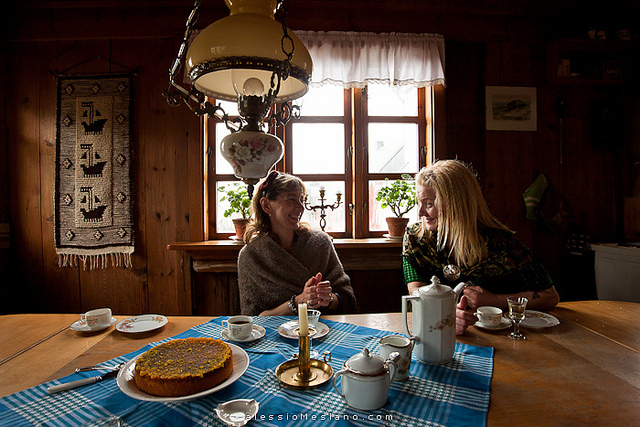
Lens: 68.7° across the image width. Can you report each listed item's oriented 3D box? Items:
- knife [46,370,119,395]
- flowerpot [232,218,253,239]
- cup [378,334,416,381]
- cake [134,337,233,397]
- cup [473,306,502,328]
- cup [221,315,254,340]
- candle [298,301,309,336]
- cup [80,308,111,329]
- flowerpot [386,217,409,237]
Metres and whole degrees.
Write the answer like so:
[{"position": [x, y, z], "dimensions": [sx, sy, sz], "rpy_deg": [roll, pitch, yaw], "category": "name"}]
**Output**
[{"position": [-1.142, 0.815, 2.248], "dimensions": [0.302, 0.033, 0.025], "rpy_deg": [-10, -33, -18], "category": "knife"}, {"position": [-0.653, 0.122, 3.809], "dimensions": [0.137, 0.172, 0.074], "rpy_deg": [0, 5, 40], "category": "flowerpot"}, {"position": [0.404, 0.699, 2.301], "dimensions": [0.222, 0.212, 0.102], "rpy_deg": [-6, 5, -35], "category": "cup"}, {"position": [-0.647, 0.739, 2.270], "dimensions": [0.439, 0.192, 0.266], "rpy_deg": [-2, 4, 9], "category": "cake"}, {"position": [0.944, 0.573, 2.608], "dimensions": [0.142, 0.070, 0.100], "rpy_deg": [-5, -1, 22], "category": "cup"}, {"position": [-0.455, 0.613, 2.546], "dimensions": [0.137, 0.092, 0.112], "rpy_deg": [-3, 5, -5], "category": "cup"}, {"position": [-0.078, 0.506, 2.281], "dimensions": [0.042, 0.164, 0.149], "rpy_deg": [-3, 4, -3], "category": "candle"}, {"position": [-1.251, 0.584, 2.631], "dimensions": [0.128, 0.069, 0.106], "rpy_deg": [-3, 0, 29], "category": "cup"}, {"position": [0.645, 0.104, 3.876], "dimensions": [0.154, 0.120, 0.158], "rpy_deg": [1, 2, 9], "category": "flowerpot"}]
